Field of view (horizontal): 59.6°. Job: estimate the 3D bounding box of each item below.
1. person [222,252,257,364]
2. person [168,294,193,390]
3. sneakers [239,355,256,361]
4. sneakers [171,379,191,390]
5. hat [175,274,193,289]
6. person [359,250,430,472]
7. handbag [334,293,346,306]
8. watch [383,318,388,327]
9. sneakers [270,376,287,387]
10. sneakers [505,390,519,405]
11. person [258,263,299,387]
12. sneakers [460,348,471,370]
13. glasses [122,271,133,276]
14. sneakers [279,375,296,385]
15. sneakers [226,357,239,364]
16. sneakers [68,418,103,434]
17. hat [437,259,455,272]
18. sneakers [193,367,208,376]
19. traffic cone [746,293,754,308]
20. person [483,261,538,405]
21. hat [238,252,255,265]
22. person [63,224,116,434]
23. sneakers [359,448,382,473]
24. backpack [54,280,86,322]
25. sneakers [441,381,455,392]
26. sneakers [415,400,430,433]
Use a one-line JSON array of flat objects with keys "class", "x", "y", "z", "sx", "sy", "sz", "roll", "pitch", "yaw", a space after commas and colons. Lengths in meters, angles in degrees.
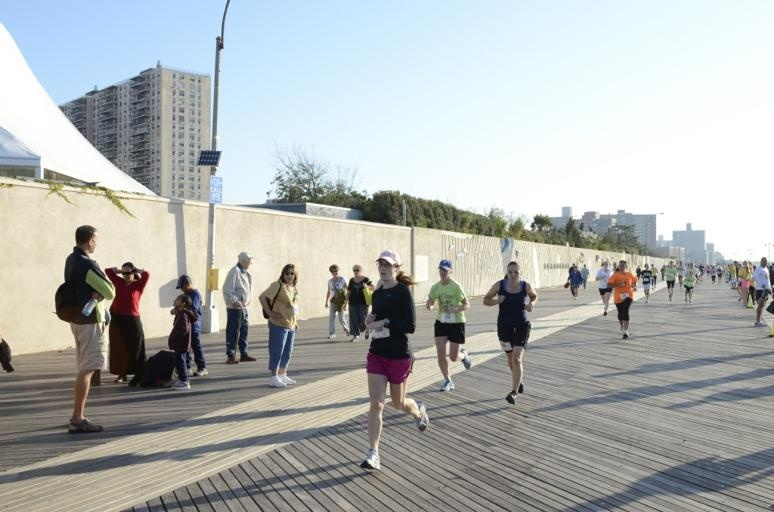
[{"class": "person", "x": -3.318, "y": 1.165, "z": 15.030, "sx": 0.618, "sy": 2.401, "sz": 0.609, "roll": -3, "pitch": 8, "yaw": -22}, {"class": "person", "x": -3.965, "y": 1.670, "z": 13.092, "sx": 0.456, "sy": 1.699, "sz": 0.813, "roll": -2, "pitch": 8, "yaw": -16}, {"class": "sneakers", "x": -3.114, "y": 2.283, "z": 15.148, "sx": 0.379, "sy": 0.181, "sz": 0.138, "roll": 0, "pitch": 0, "yaw": -18}, {"class": "sneakers", "x": -3.916, "y": 2.474, "z": 12.882, "sx": 0.316, "sy": 0.164, "sz": 0.135, "roll": 3, "pitch": -6, "yaw": -3}, {"class": "hat", "x": -4.131, "y": 0.573, "z": 13.784, "sx": 0.409, "sy": 0.278, "sz": 0.306, "roll": -3, "pitch": 8, "yaw": -24}, {"class": "person", "x": 0.110, "y": 1.483, "z": 9.983, "sx": 0.833, "sy": 3.032, "sz": 1.315, "roll": 2, "pitch": 8, "yaw": 11}, {"class": "handbag", "x": -1.231, "y": 1.156, "z": 18.125, "sx": 0.336, "sy": 0.545, "sz": 0.268, "roll": 2, "pitch": -3, "yaw": -1}, {"class": "watch", "x": 0.001, "y": 0.971, "z": 9.769, "sx": 0.069, "sy": 0.087, "sz": 0.029, "roll": 7, "pitch": 14, "yaw": 13}, {"class": "sneakers", "x": -2.080, "y": 2.424, "z": 12.942, "sx": 0.289, "sy": 0.145, "sz": 0.154, "roll": -2, "pitch": 0, "yaw": 33}, {"class": "sneakers", "x": 2.216, "y": 2.540, "z": 11.988, "sx": 0.140, "sy": 0.135, "sz": 0.318, "roll": -19, "pitch": -2, "yaw": -11}, {"class": "person", "x": -2.088, "y": 1.381, "z": 13.136, "sx": 0.625, "sy": 2.302, "sz": 0.815, "roll": 0, "pitch": 8, "yaw": -2}, {"class": "sneakers", "x": 1.686, "y": 2.240, "z": 14.521, "sx": 0.159, "sy": 0.499, "sz": 0.191, "roll": -29, "pitch": 22, "yaw": -28}, {"class": "glasses", "x": -5.111, "y": 0.353, "z": 13.304, "sx": 0.169, "sy": 0.086, "sz": 0.069, "roll": -2, "pitch": 8, "yaw": -14}, {"class": "sneakers", "x": -1.938, "y": 2.411, "z": 13.094, "sx": 0.371, "sy": 0.170, "sz": 0.139, "roll": 0, "pitch": 2, "yaw": 17}, {"class": "sneakers", "x": -3.410, "y": 2.297, "z": 14.952, "sx": 0.280, "sy": 0.144, "sz": 0.277, "roll": -2, "pitch": 9, "yaw": -15}, {"class": "sneakers", "x": -4.783, "y": 2.711, "z": 10.764, "sx": 0.490, "sy": 0.235, "sz": 0.229, "roll": 0, "pitch": -2, "yaw": -13}, {"class": "hat", "x": 1.127, "y": 0.177, "z": 12.717, "sx": 0.176, "sy": 0.150, "sz": 0.268, "roll": 2, "pitch": -5, "yaw": 23}, {"class": "sneakers", "x": -3.790, "y": 2.402, "z": 13.847, "sx": 0.112, "sy": 0.126, "sz": 0.281, "roll": -3, "pitch": -12, "yaw": 9}, {"class": "traffic cone", "x": 15.404, "y": 1.914, "z": 28.669, "sx": 0.397, "sy": 0.494, "sz": 0.426, "roll": -14, "pitch": 17, "yaw": 26}, {"class": "person", "x": 2.300, "y": 1.373, "z": 12.452, "sx": 0.814, "sy": 2.499, "sz": 1.533, "roll": 2, "pitch": 8, "yaw": 13}, {"class": "hat", "x": -3.111, "y": 0.052, "z": 15.090, "sx": 0.323, "sy": 0.194, "sz": 0.222, "roll": -13, "pitch": 16, "yaw": -42}, {"class": "person", "x": -4.713, "y": 1.165, "z": 10.691, "sx": 0.733, "sy": 3.214, "sz": 0.628, "roll": -4, "pitch": 8, "yaw": -27}, {"class": "sneakers", "x": -0.225, "y": 2.952, "z": 9.668, "sx": 0.147, "sy": 0.203, "sz": 0.426, "roll": -5, "pitch": -22, "yaw": 21}, {"class": "backpack", "x": -4.965, "y": 0.747, "z": 10.537, "sx": 0.535, "sy": 0.628, "sz": 0.222, "roll": 6, "pitch": 9, "yaw": 35}, {"class": "sneakers", "x": 1.171, "y": 2.514, "z": 12.906, "sx": 0.119, "sy": 0.155, "sz": 0.318, "roll": -7, "pitch": -13, "yaw": 27}, {"class": "sneakers", "x": 0.527, "y": 2.565, "z": 10.638, "sx": 0.154, "sy": 0.507, "sz": 0.214, "roll": 11, "pitch": 29, "yaw": 39}]
